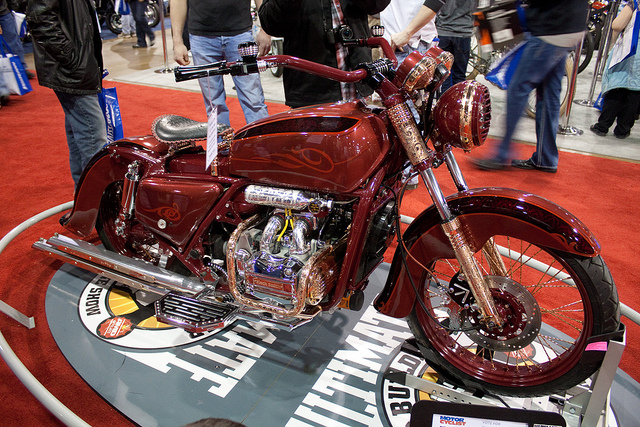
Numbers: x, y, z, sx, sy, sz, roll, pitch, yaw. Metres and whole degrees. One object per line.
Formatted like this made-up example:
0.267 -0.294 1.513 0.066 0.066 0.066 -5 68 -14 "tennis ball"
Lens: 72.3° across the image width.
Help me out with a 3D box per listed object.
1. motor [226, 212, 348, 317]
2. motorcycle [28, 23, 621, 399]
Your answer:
-0.231 0.266 2.834 0.669 0.494 0.695 14 21 22 "motor"
-0.251 -0.096 3.002 4.096 2.021 1.545 8 17 18 "motorcycle"
